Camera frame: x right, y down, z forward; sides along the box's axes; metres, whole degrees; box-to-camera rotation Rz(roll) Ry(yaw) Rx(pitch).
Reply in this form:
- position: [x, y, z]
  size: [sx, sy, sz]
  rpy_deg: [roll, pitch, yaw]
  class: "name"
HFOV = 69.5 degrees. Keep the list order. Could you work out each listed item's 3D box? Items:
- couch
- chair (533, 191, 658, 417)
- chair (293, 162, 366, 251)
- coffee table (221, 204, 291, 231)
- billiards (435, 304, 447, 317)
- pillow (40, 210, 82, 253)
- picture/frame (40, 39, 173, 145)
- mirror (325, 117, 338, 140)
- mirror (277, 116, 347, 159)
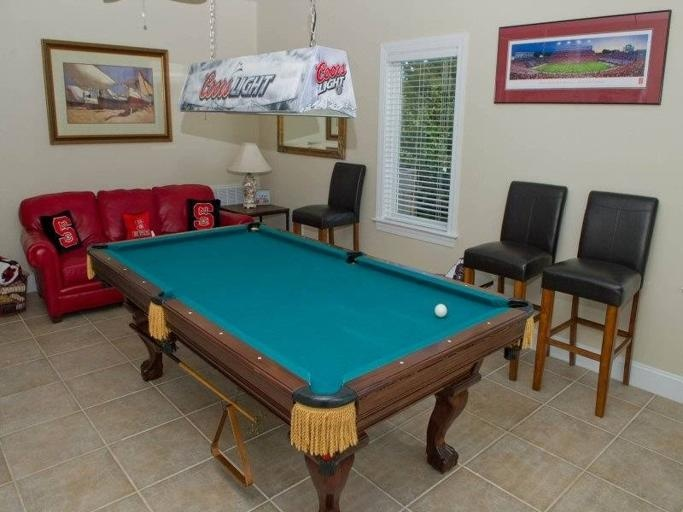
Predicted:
- position: [-2.302, -0.179, 5.559]
  size: [2.246, 1.029, 0.979]
  rpy_deg: [-9, 25, -30]
  class: "couch"
- position: [1.993, 0.331, 3.894]
  size: [0.729, 1.545, 0.911]
  rpy_deg: [14, 24, 32]
  class: "chair"
- position: [-0.155, -0.501, 5.825]
  size: [0.646, 1.157, 0.760]
  rpy_deg: [15, 22, 40]
  class: "chair"
- position: [-1.083, -0.606, 6.416]
  size: [0.525, 0.507, 0.519]
  rpy_deg: [-15, 23, -40]
  class: "coffee table"
- position: [0.597, 0.318, 2.949]
  size: [0.080, 0.070, 0.112]
  rpy_deg: [4, 20, 11]
  class: "billiards"
- position: [-2.908, -0.239, 5.128]
  size: [0.251, 0.357, 0.279]
  rpy_deg: [19, 28, 42]
  class: "pillow"
- position: [-2.763, -1.934, 5.677]
  size: [1.379, 1.069, 0.056]
  rpy_deg: [-8, 13, -41]
  class: "picture/frame"
- position: [-0.118, -1.562, 6.019]
  size: [0.061, 0.260, 0.245]
  rpy_deg: [-14, 24, -32]
  class: "mirror"
- position: [-0.397, -1.534, 6.290]
  size: [1.270, 0.501, 0.112]
  rpy_deg: [18, 27, 41]
  class: "mirror"
